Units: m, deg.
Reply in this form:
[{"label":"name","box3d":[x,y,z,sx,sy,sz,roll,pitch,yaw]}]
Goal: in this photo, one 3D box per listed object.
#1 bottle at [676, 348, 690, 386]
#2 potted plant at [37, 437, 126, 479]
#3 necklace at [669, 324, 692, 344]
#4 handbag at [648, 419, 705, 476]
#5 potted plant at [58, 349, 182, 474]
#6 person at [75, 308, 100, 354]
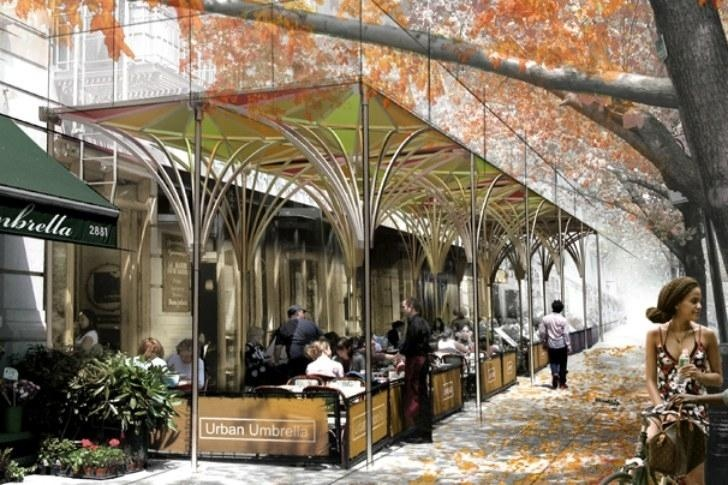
[{"label":"bottle","box3d":[4.343,1.681,10.911,0.178,0.503,0.256,3,13,12]},{"label":"potted plant","box3d":[-4.978,3.750,14.135,1.572,0.626,0.448,4,14,13]},{"label":"necklace","box3d":[4.336,1.261,11.044,0.237,0.292,0.272,1,-39,6]},{"label":"handbag","box3d":[4.063,2.705,10.688,0.720,0.791,0.557,6,-9,-42]},{"label":"potted plant","box3d":[-4.574,3.088,14.932,1.757,1.986,1.923,3,-13,-10]},{"label":"person","box3d":[-6.302,1.987,18.142,0.466,1.087,0.770,1,-3,17]}]
